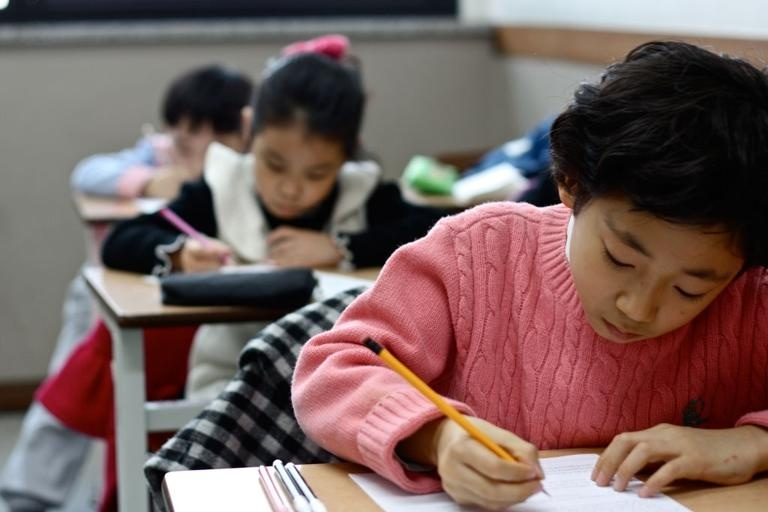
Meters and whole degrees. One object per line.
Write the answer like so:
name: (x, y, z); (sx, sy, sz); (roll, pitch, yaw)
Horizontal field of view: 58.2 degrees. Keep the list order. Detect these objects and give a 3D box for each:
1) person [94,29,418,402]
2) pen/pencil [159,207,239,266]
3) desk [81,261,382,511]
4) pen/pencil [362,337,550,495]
person: (-0.247, 0.121, 1.525); (0.640, 1.094, 0.332); (0, 15, -16)
pen/pencil: (-0.376, -0.042, 1.380); (0.020, 0.143, 0.019); (-46, 5, -15)
desk: (-0.337, 0.231, 1.479); (0.473, 0.461, 0.480); (0, 6, -15)
pen/pencil: (0.086, 0.209, 0.900); (0.256, 0.013, 0.026); (44, 47, 7)
